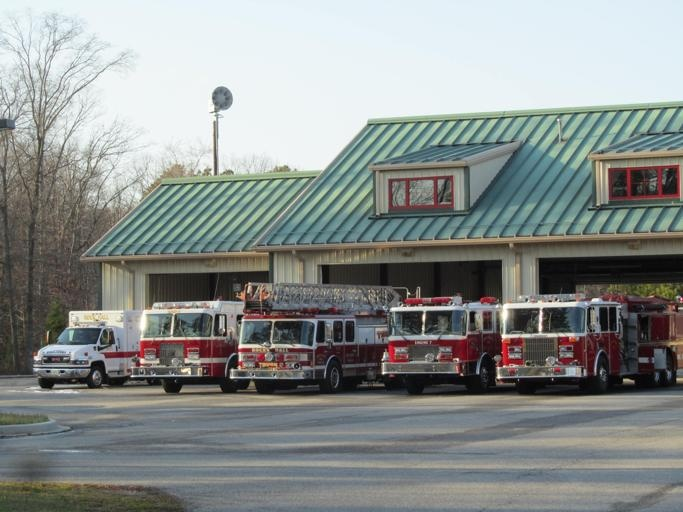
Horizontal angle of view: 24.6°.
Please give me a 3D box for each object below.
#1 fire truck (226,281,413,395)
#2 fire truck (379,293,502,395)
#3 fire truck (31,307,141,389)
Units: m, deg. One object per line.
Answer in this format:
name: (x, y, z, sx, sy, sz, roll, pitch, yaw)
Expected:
fire truck: (-0.297, 2.915, 56.312, 2.629, 3.983, 9.295, -4, -4, 28)
fire truck: (4.264, 3.091, 54.735, 3.480, 3.504, 7.101, -2, -3, 32)
fire truck: (-9.591, 3.614, 59.350, 3.167, 3.382, 3.815, -5, -6, 15)
